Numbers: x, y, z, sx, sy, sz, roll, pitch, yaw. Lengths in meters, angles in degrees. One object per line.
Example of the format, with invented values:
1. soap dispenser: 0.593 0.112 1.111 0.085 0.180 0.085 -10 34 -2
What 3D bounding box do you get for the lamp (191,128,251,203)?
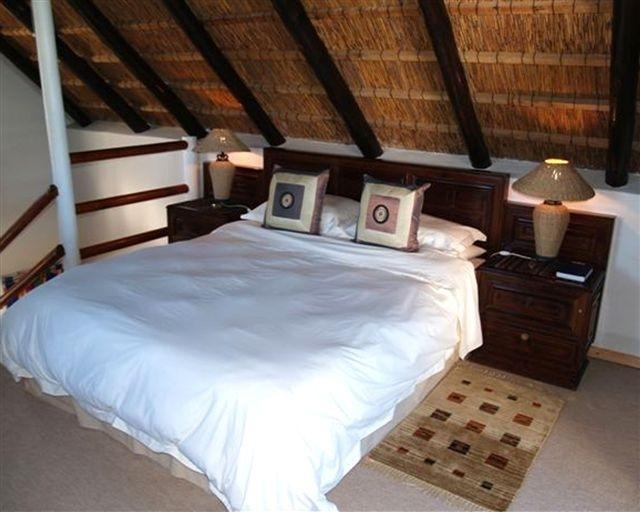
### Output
1. lamp: -0.851 -0.852 4.248 0.687 0.701 0.625 3 15 12
